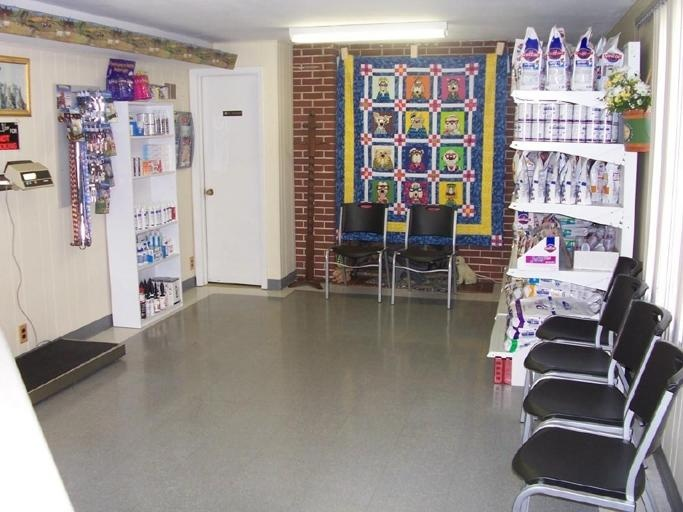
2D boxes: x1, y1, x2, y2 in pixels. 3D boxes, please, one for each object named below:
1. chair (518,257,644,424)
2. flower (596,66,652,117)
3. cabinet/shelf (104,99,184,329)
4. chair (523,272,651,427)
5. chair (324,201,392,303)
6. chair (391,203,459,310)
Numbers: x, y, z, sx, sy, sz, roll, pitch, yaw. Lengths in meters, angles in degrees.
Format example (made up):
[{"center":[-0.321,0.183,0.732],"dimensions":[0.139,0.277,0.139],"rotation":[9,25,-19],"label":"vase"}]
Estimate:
[{"center":[1.517,0.679,3.422],"dimensions":[0.563,0.872,0.484],"rotation":[-6,21,32],"label":"chair"},{"center":[1.881,-1.110,3.521],"dimensions":[0.271,0.230,0.239],"rotation":[-23,30,-30],"label":"flower"},{"center":[-2.058,-0.459,5.562],"dimensions":[0.422,2.248,0.915],"rotation":[3,14,12],"label":"cabinet/shelf"},{"center":[1.397,0.622,3.188],"dimensions":[0.742,0.915,0.696],"rotation":[3,11,37],"label":"chair"},{"center":[0.205,-0.020,6.879],"dimensions":[0.981,1.193,0.995],"rotation":[-6,-16,42],"label":"chair"},{"center":[1.001,-0.055,6.438],"dimensions":[0.763,1.094,1.020],"rotation":[3,14,10],"label":"chair"}]
